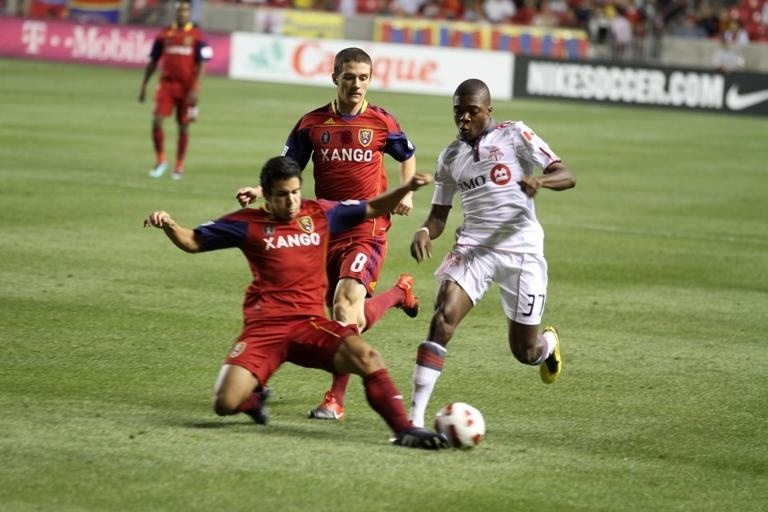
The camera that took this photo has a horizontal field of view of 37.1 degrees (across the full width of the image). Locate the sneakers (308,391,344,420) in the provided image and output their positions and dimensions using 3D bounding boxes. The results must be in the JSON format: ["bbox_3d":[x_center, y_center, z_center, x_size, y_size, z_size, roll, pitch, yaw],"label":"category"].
[{"bbox_3d":[-0.412,1.189,8.976,0.179,0.160,0.294,-5,-17,42],"label":"sneakers"}]

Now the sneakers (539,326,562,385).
[{"bbox_3d":[1.438,0.809,9.447,0.213,0.449,0.251,5,16,26],"label":"sneakers"}]

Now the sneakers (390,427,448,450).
[{"bbox_3d":[0.254,1.334,8.416,0.468,0.152,0.141,0,-8,6],"label":"sneakers"}]

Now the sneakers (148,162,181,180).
[{"bbox_3d":[-3.037,-1.169,15.690,0.203,0.198,0.575,1,-1,31],"label":"sneakers"}]

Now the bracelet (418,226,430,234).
[{"bbox_3d":[0.312,-0.214,9.134,0.079,0.048,0.077,1,3,28],"label":"bracelet"}]

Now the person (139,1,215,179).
[{"bbox_3d":[-2.853,-2.273,15.554,0.922,2.420,0.585,-1,12,-17],"label":"person"}]
